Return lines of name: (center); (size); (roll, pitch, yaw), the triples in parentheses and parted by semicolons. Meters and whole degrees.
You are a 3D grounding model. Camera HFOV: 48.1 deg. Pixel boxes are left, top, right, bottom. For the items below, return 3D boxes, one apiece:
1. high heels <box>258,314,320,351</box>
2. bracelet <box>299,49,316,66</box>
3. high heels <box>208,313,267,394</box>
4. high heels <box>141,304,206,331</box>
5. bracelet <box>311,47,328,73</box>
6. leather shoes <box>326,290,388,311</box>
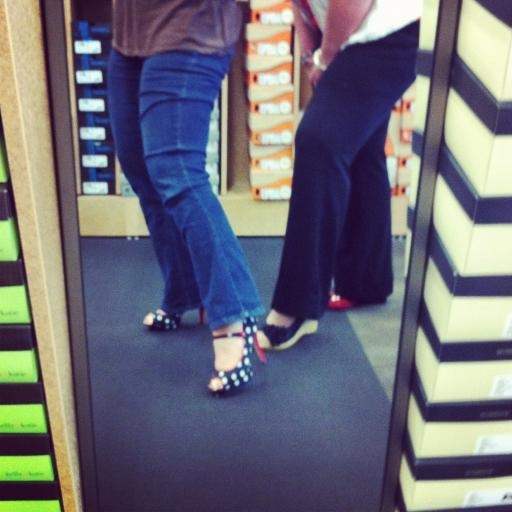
high heels: (0.064, 0.140, 1.131); (0.090, 0.040, 0.061); (-14, 17, -5)
bracelet: (0.094, -0.361, 1.039); (0.020, 0.024, 0.008); (6, 26, 18)
high heels: (-0.018, 0.177, 1.180); (0.063, 0.097, 0.205); (2, 28, 29)
high heels: (-0.158, 0.110, 1.115); (0.111, 0.050, 0.046); (-4, 5, -18)
bracelet: (0.111, -0.349, 1.025); (0.013, 0.031, 0.037); (-4, 41, -23)
leather shoes: (0.206, 0.083, 1.125); (0.098, 0.033, 0.044); (-1, 26, 10)
